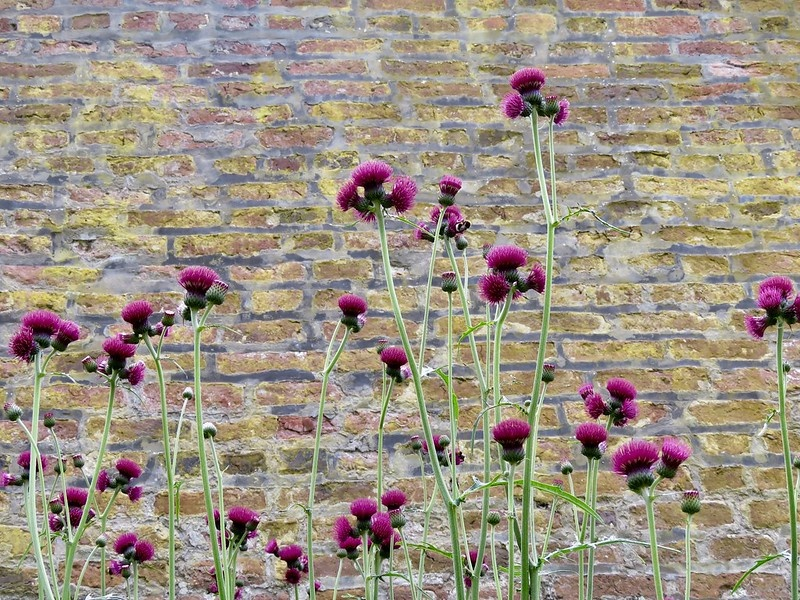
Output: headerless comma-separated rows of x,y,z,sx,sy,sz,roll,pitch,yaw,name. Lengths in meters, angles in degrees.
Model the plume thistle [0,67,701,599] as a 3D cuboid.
0.088,0.165,5.637,1.516,1.311,1.482,-3,-9,18,plume thistle
